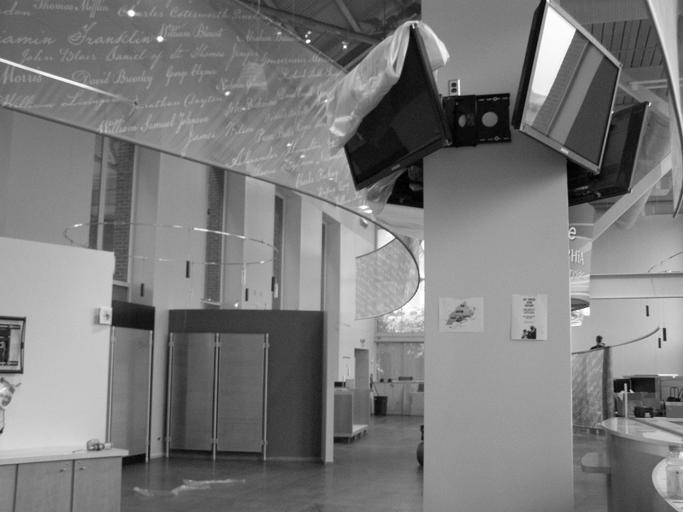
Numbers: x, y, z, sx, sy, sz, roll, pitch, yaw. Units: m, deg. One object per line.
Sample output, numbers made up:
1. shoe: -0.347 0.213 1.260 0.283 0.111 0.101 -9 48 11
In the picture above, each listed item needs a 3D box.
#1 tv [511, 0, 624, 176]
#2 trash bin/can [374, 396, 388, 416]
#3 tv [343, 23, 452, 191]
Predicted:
1. tv: 1.565 -1.128 4.260 0.891 0.924 0.347 6 -11 -36
2. trash bin/can: 1.536 5.632 22.981 0.576 0.696 0.556 3 -10 -15
3. tv: 0.433 -1.068 4.662 0.412 0.868 1.038 4 -10 -25
